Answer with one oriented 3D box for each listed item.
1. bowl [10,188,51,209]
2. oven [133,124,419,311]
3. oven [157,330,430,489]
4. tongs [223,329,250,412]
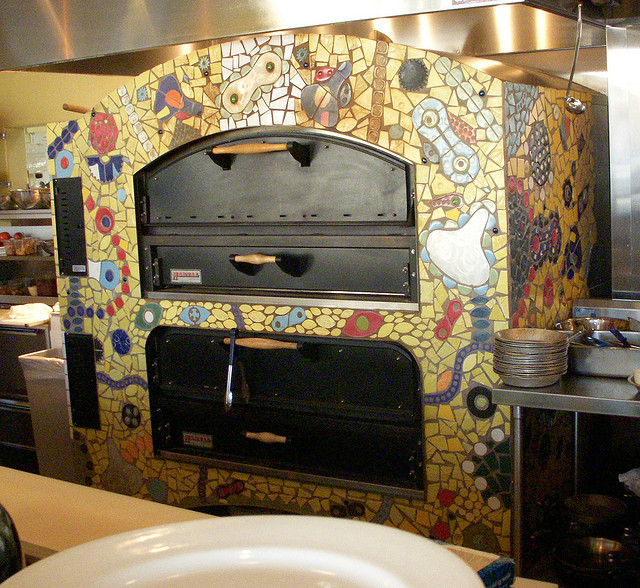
[{"bbox_3d":[-2.255,-0.749,4.321,0.266,0.141,0.278,1,1,0],"label":"bowl"},{"bbox_3d":[-0.124,-0.371,2.469,1.182,0.712,0.634,2,11,16],"label":"oven"},{"bbox_3d":[-0.166,0.445,2.287,1.235,0.571,0.276,0,1,33],"label":"oven"},{"bbox_3d":[-0.342,0.330,2.298,0.092,0.359,0.069,9,14,32],"label":"tongs"}]
